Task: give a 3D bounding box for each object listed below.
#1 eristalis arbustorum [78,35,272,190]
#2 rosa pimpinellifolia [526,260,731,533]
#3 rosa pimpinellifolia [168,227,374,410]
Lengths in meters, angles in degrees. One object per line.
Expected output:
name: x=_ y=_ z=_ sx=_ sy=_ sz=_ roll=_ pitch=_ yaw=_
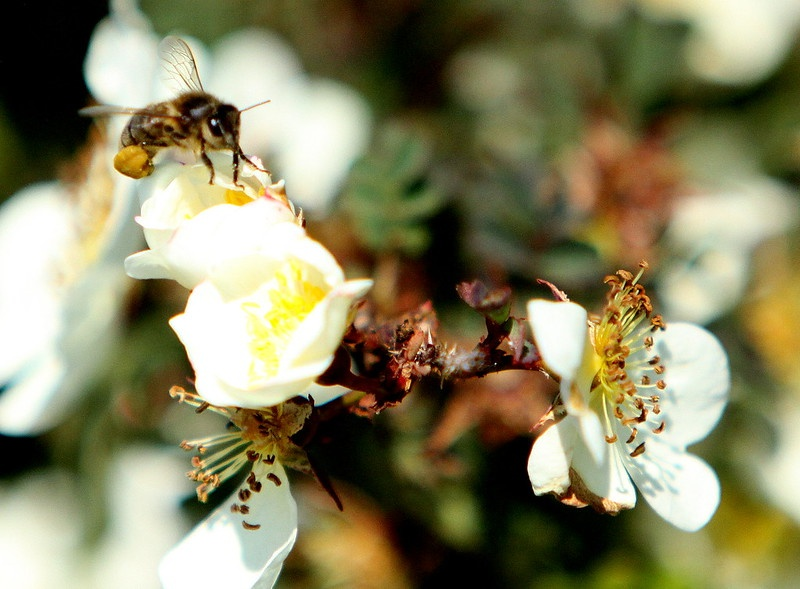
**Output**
eristalis arbustorum: x=-0.523 y=-0.422 z=2.404 sx=0.433 sy=0.421 sz=0.429 roll=-6 pitch=23 yaw=-7
rosa pimpinellifolia: x=0.498 y=0.197 z=2.131 sx=0.484 sy=0.554 sz=0.388 roll=11 pitch=-15 yaw=6
rosa pimpinellifolia: x=-0.269 y=0.037 z=2.117 sx=0.383 sy=0.421 sz=0.438 roll=-3 pitch=11 yaw=-9
